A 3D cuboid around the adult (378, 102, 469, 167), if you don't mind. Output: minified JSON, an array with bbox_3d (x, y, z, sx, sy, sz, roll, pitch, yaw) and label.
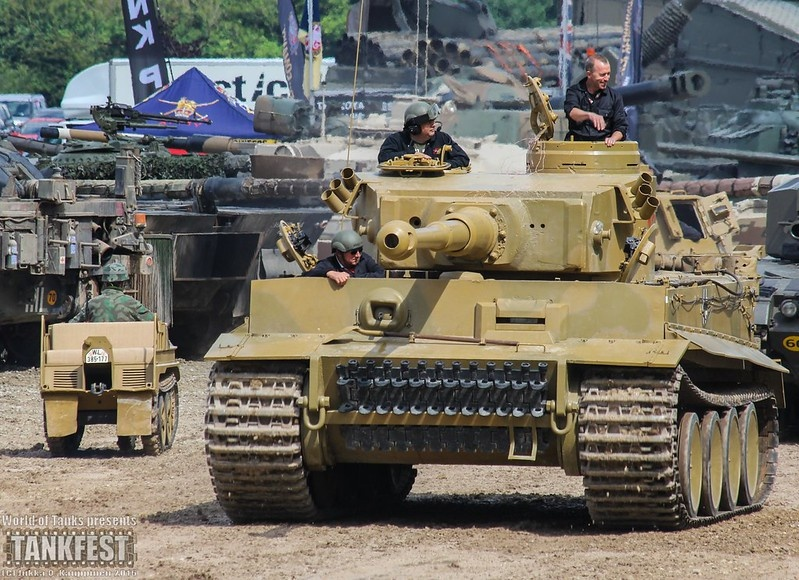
[{"bbox_3d":[0.374,-2.027,26.324,1.050,1.414,0.917,0,23,2],"label":"adult"}]

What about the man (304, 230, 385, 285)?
[{"bbox_3d":[-0.729,-0.426,24.991,0.906,0.507,0.705,1,6,37],"label":"man"}]

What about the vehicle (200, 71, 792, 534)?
[{"bbox_3d":[1.910,0.559,26.104,4.610,4.768,7.074,-2,-5,22],"label":"vehicle"}]

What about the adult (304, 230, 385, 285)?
[{"bbox_3d":[-0.772,-0.428,25.010,0.906,0.507,0.705,1,6,37],"label":"adult"}]

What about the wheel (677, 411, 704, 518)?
[{"bbox_3d":[3.877,2.366,24.153,0.200,1.393,1.296,-2,-2,17],"label":"wheel"}]

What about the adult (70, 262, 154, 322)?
[{"bbox_3d":[-4.939,0.025,30.195,0.807,1.216,0.508,0,-12,13],"label":"adult"}]

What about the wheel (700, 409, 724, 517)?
[{"bbox_3d":[4.260,2.386,24.686,0.173,1.502,1.183,-1,6,13],"label":"wheel"}]

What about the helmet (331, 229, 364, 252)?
[{"bbox_3d":[-0.743,-0.699,24.936,0.334,0.294,0.280,25,24,23],"label":"helmet"}]

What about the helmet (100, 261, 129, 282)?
[{"bbox_3d":[-4.532,-0.246,28.316,0.350,0.271,0.470,-1,-4,-18],"label":"helmet"}]

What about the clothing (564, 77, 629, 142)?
[{"bbox_3d":[2.828,-2.881,27.033,1.033,1.323,1.309,-2,10,-8],"label":"clothing"}]

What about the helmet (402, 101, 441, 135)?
[{"bbox_3d":[0.259,-2.506,26.192,0.454,0.447,0.432,2,16,2],"label":"helmet"}]

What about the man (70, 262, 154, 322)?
[{"bbox_3d":[-4.939,0.025,30.195,0.807,1.216,0.508,0,-12,13],"label":"man"}]
